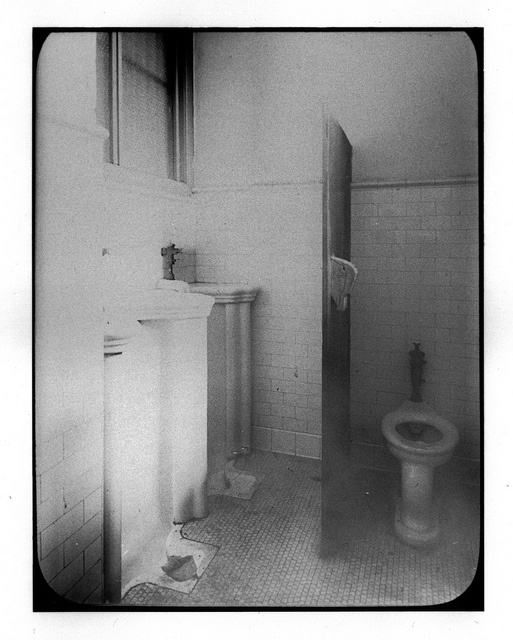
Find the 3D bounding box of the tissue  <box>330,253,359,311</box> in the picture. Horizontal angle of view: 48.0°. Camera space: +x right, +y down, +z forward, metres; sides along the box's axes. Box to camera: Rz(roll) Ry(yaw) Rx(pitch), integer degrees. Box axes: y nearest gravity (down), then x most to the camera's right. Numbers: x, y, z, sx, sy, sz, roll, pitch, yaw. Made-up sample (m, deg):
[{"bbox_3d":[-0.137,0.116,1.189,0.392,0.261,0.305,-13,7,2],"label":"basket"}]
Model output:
[{"bbox_3d":[0.201,-0.089,1.336,0.057,0.147,0.031,7,38,16],"label":"tissue "}]
